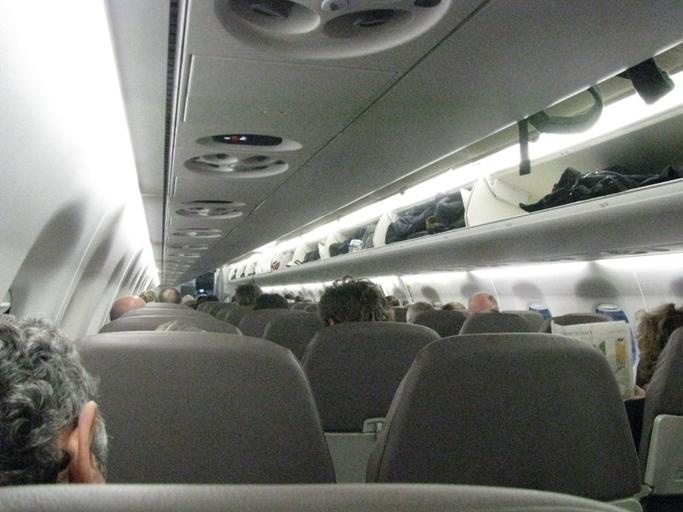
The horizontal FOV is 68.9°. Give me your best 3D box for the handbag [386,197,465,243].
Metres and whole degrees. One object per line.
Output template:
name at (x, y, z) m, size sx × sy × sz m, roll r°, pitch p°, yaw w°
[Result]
handbag at (1.201, -0.513, 7.106) m, size 0.599 × 0.206 × 0.800 m, roll -9°, pitch -6°, yaw -37°
